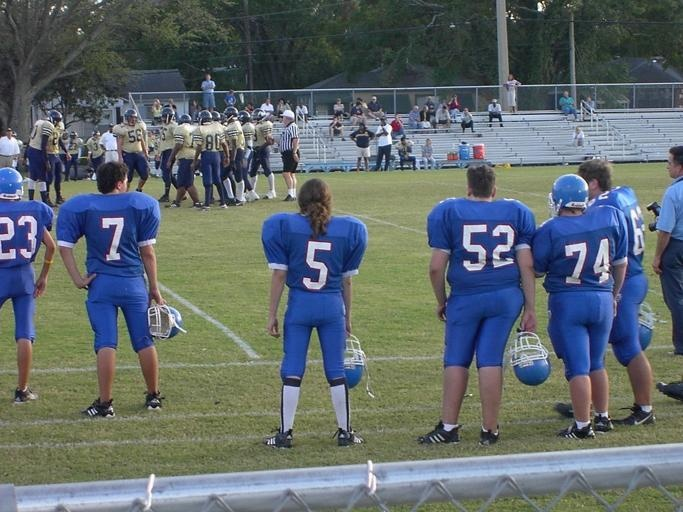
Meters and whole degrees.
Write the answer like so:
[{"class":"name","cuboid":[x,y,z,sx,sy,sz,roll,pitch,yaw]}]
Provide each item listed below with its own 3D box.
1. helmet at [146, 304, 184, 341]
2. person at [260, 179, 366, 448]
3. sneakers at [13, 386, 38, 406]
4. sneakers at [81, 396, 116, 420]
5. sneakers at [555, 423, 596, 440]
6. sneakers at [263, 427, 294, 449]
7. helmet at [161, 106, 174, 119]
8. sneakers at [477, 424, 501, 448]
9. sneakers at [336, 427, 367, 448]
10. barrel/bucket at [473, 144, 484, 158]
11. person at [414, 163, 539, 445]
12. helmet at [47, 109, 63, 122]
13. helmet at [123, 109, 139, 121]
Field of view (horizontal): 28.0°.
[{"class":"helmet","cuboid":[-2.803,1.066,21.508,0.496,0.432,0.586,-4,6,16]},{"class":"person","cuboid":[-0.435,0.874,20.854,1.488,4.019,0.703,-2,8,-2]},{"class":"sneakers","cuboid":[-4.978,2.220,21.603,0.169,0.158,0.385,2,3,32]},{"class":"sneakers","cuboid":[-3.796,2.389,21.361,0.500,0.287,0.205,-3,8,-9]},{"class":"sneakers","cuboid":[3.550,2.707,20.980,0.625,0.255,0.224,3,-4,10]},{"class":"sneakers","cuboid":[-0.974,2.792,20.837,0.456,0.265,0.239,-2,8,-8]},{"class":"helmet","cuboid":[-3.849,-3.117,30.211,0.204,0.229,0.244,5,36,-19]},{"class":"sneakers","cuboid":[2.224,2.735,20.880,0.305,0.254,0.374,-1,8,5]},{"class":"sneakers","cuboid":[0.092,2.796,20.838,0.518,0.233,0.190,1,-2,-16]},{"class":"barrel/bucket","cuboid":[4.671,-3.518,46.726,0.481,0.485,0.469,1,1,0]},{"class":"person","cuboid":[2.101,0.744,20.854,1.598,4.178,0.847,-1,8,7]},{"class":"helmet","cuboid":[-6.349,-3.125,30.372,0.236,0.246,0.308,15,37,13]},{"class":"helmet","cuboid":[-4.784,-3.135,30.791,0.313,0.281,0.246,-5,8,12]}]
